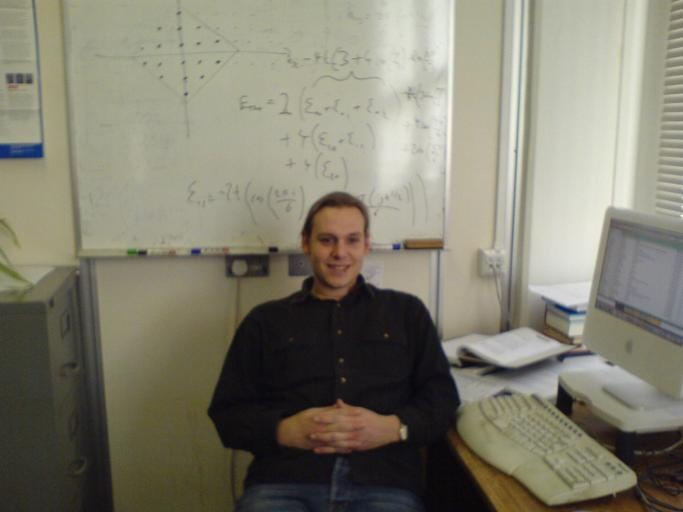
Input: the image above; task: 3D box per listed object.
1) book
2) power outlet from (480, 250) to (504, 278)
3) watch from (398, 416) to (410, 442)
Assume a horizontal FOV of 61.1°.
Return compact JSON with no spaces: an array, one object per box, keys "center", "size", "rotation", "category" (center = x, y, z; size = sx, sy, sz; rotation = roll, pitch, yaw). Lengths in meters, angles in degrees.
[{"center":[0.698,0.335,2.323],"size":[0.367,0.096,0.385],"rotation":[-7,16,-23],"category":"book"},{"center":[0.678,0.027,2.626],"size":[0.109,0.112,0.060],"rotation":[-1,7,-4],"category":"power outlet"},{"center":[0.207,0.583,1.944],"size":[0.042,0.074,0.019],"rotation":[4,-11,5],"category":"watch"}]
